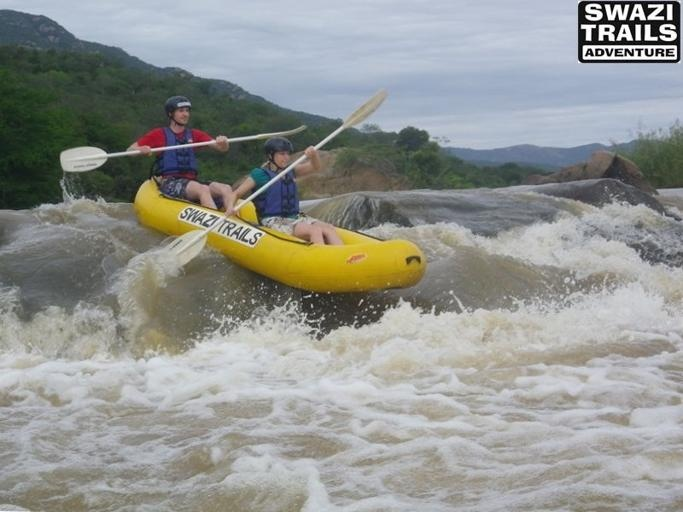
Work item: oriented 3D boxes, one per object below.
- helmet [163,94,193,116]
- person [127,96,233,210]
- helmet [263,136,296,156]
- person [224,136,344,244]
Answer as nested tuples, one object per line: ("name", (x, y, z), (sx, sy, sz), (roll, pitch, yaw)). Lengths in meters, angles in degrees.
("helmet", (-2.063, -1.886, 10.108), (0.361, 0.244, 0.304), (1, 13, 6))
("person", (-1.779, -1.206, 10.114), (1.488, 1.472, 1.105), (10, 16, 33))
("helmet", (-0.708, -1.259, 9.333), (0.284, 0.212, 0.212), (1, 14, 18))
("person", (-0.526, -0.627, 9.119), (1.441, 1.296, 1.125), (13, 20, 42))
